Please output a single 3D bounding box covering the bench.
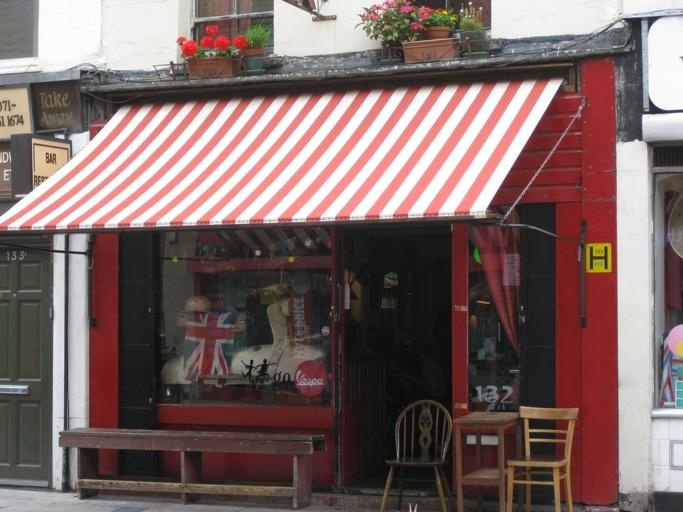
[{"bbox_3d":[-1.728,2.553,17.961,3.089,0.929,0.649,-1,-6,12],"label":"bench"}]

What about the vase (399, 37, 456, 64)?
[{"bbox_3d":[1.075,-2.469,17.800,0.446,0.188,0.323,-2,-4,14],"label":"vase"}]

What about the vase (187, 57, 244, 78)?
[{"bbox_3d":[-1.574,-2.351,18.473,0.685,0.277,0.176,0,-6,0],"label":"vase"}]

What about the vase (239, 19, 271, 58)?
[{"bbox_3d":[-1.087,-2.678,18.616,0.421,0.556,0.497,-3,10,-16],"label":"vase"}]

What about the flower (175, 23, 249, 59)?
[{"bbox_3d":[-1.592,-2.622,18.486,0.592,0.382,0.558,-2,-3,5],"label":"flower"}]

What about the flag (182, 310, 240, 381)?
[{"bbox_3d":[-1.594,1.140,18.719,0.758,1.146,0.111,0,-10,9],"label":"flag"}]
